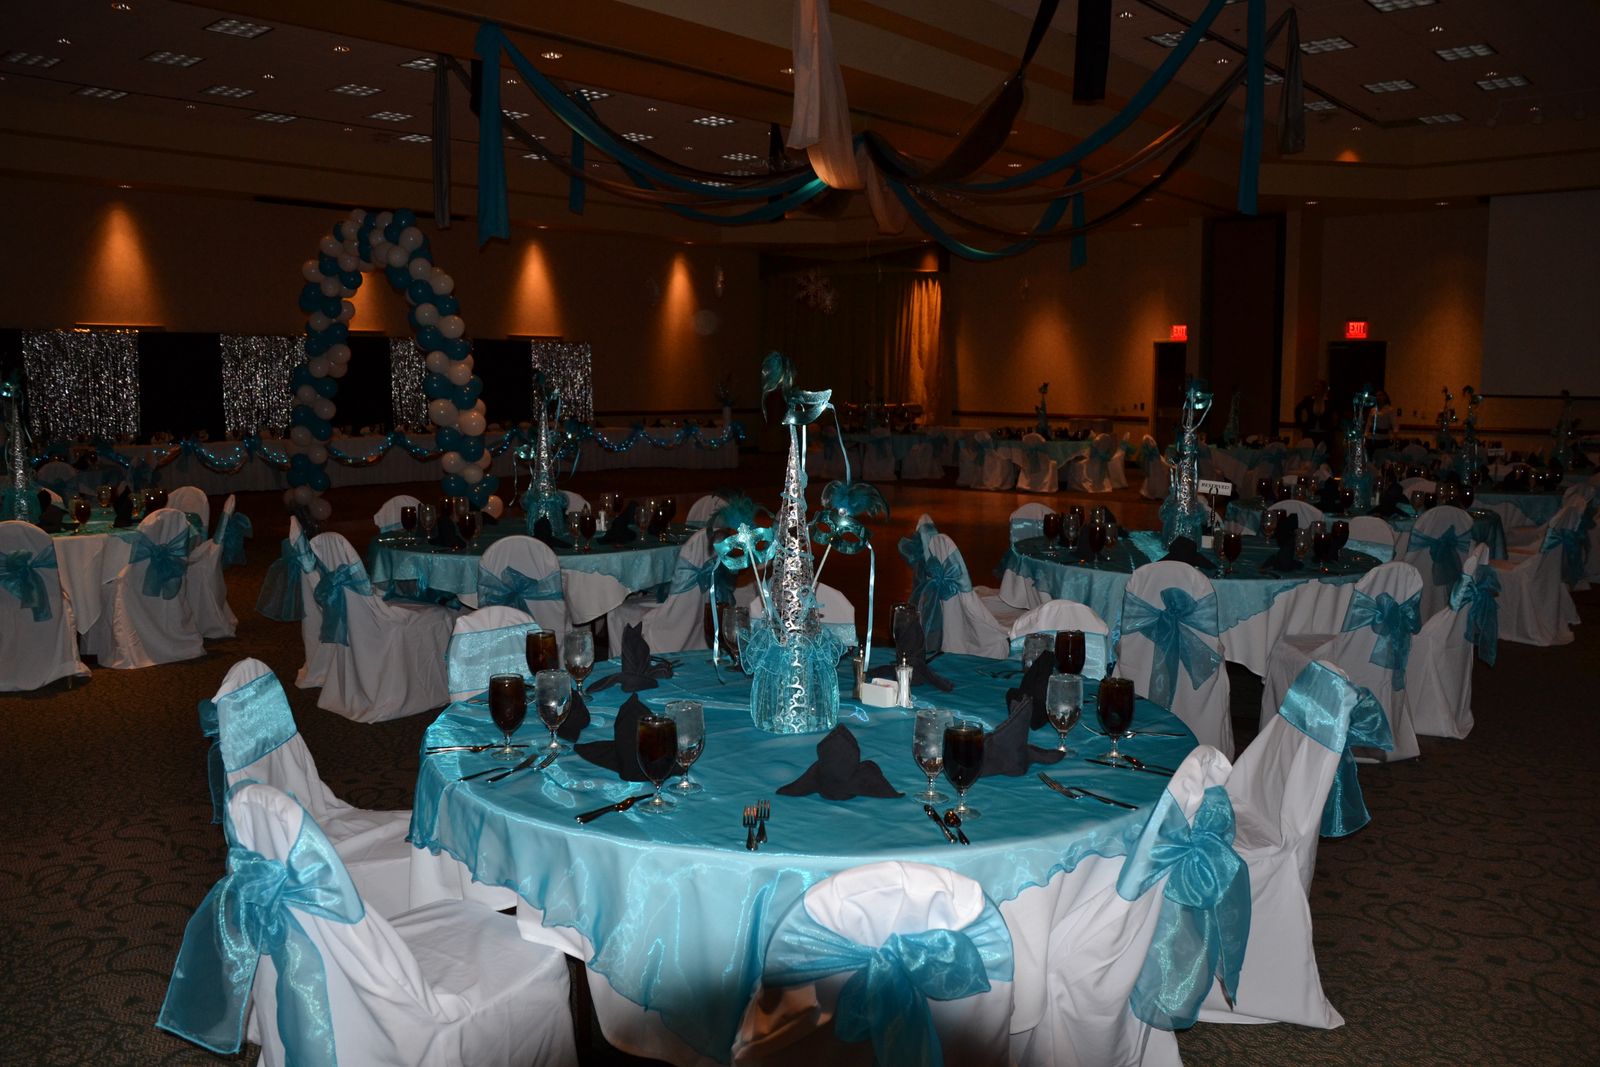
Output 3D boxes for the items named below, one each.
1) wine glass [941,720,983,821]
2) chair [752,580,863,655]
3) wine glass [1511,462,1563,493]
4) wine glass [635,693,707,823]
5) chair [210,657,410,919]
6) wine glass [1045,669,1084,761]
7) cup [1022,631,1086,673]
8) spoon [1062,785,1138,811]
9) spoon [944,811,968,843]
[{"bbox_3d":[0.466,0.673,3.286,0.107,0.268,0.235,1,7,7],"label":"wine glass"},{"bbox_3d":[0.012,0.304,3.959,0.330,0.232,0.351,0,-1,1],"label":"chair"},{"bbox_3d":[5.880,-0.438,9.056,0.311,0.127,0.360,0,5,12],"label":"wine glass"},{"bbox_3d":[-0.369,0.663,3.302,0.233,0.412,0.258,0,1,0],"label":"wine glass"},{"bbox_3d":[-1.656,0.936,3.831,0.573,0.848,0.536,5,10,6],"label":"chair"},{"bbox_3d":[0.831,0.577,3.564,0.105,0.267,0.105,-1,15,2],"label":"wine glass"},{"bbox_3d":[0.878,0.407,3.920,0.198,0.216,0.118,1,5,30],"label":"cup"},{"bbox_3d":[0.923,0.790,3.385,0.054,0.067,0.464,30,13,37],"label":"spoon"},{"bbox_3d":[0.445,0.833,3.189,0.045,0.067,0.026,7,-31,-28],"label":"spoon"}]
